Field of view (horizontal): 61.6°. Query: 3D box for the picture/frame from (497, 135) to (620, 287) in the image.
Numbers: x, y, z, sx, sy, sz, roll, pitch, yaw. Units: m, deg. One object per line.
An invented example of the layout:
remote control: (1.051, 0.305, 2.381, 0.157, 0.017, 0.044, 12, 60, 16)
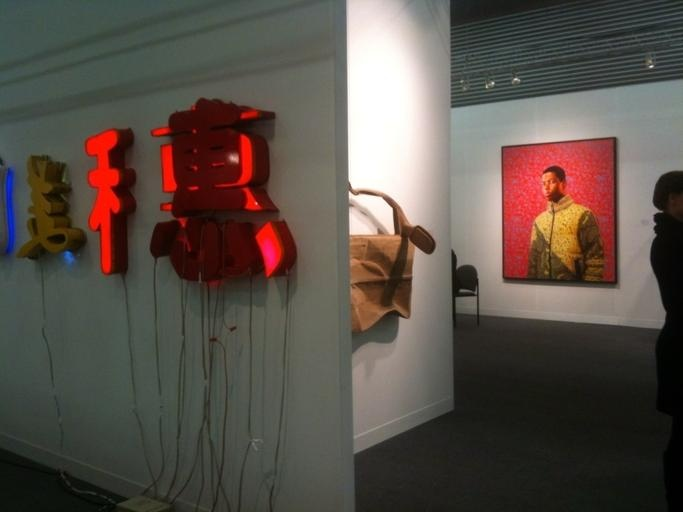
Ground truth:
picture/frame: (0.864, -0.153, 2.255, 0.539, 0.760, 0.027, -2, -4, 35)
